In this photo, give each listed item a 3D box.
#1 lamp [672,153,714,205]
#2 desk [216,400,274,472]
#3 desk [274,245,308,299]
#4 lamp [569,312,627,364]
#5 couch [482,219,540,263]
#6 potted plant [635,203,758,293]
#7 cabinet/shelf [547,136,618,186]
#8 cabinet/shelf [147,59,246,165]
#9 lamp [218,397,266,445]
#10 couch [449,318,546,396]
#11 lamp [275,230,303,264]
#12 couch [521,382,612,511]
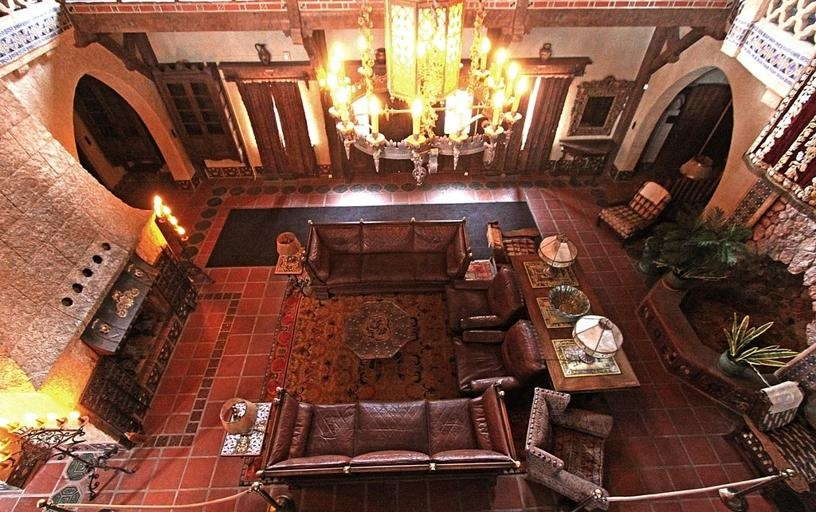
[{"bbox_3d":[7.041,-1.847,10.090,0.829,1.234,0.726,15,45,20],"label":"lamp"},{"bbox_3d":[-2.850,3.157,7.444,1.065,0.841,1.269,1,56,-2],"label":"desk"},{"bbox_3d":[-2.568,0.374,9.076,0.606,1.183,0.518,-11,55,-16],"label":"desk"},{"bbox_3d":[3.246,1.450,7.318,0.896,0.861,0.747,5,57,1],"label":"lamp"},{"bbox_3d":[2.499,-0.292,9.991,1.404,1.166,0.850,-5,67,5],"label":"couch"},{"bbox_3d":[5.890,-0.269,8.354,1.801,1.081,1.800,-44,47,1],"label":"potted plant"},{"bbox_3d":[5.048,-2.771,11.793,1.680,1.124,0.775,-3,42,0],"label":"cabinet/shelf"},{"bbox_3d":[-5.463,-3.662,10.865,1.555,2.726,0.445,-2,43,1],"label":"cabinet/shelf"},{"bbox_3d":[-2.694,2.803,6.937,0.689,0.685,0.695,4,55,-4],"label":"lamp"},{"bbox_3d":[1.686,1.899,7.711,1.755,1.362,1.117,-5,74,-2],"label":"couch"},{"bbox_3d":[-2.568,-0.158,8.851,0.451,0.612,0.467,-23,45,-21],"label":"lamp"},{"bbox_3d":[2.632,3.252,6.864,1.643,1.825,1.309,9,74,18],"label":"couch"}]
